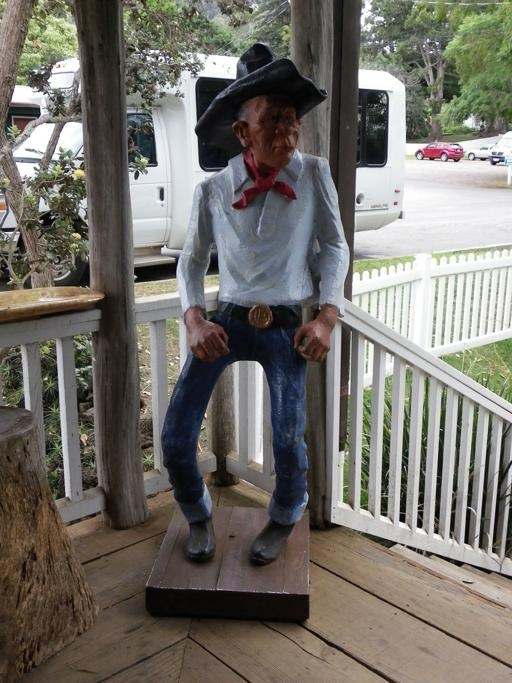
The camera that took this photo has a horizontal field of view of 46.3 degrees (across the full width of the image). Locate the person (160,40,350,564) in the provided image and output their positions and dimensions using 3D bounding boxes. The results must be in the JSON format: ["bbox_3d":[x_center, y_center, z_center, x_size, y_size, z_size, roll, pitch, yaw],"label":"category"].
[{"bbox_3d":[-0.016,-0.054,1.660,0.485,1.405,0.373,5,7,30],"label":"person"}]
